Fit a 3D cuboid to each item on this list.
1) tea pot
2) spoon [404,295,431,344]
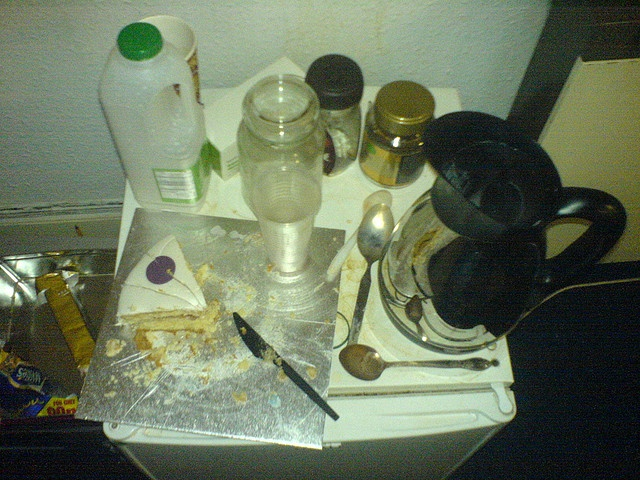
[{"bbox_3d":[0.317,-0.012,0.996,0.452,0.434,0.313,22,62,9],"label":"tea pot"},{"bbox_3d":[0.182,0.143,0.988,0.049,0.079,0.007,-23,-1,21],"label":"spoon"}]
